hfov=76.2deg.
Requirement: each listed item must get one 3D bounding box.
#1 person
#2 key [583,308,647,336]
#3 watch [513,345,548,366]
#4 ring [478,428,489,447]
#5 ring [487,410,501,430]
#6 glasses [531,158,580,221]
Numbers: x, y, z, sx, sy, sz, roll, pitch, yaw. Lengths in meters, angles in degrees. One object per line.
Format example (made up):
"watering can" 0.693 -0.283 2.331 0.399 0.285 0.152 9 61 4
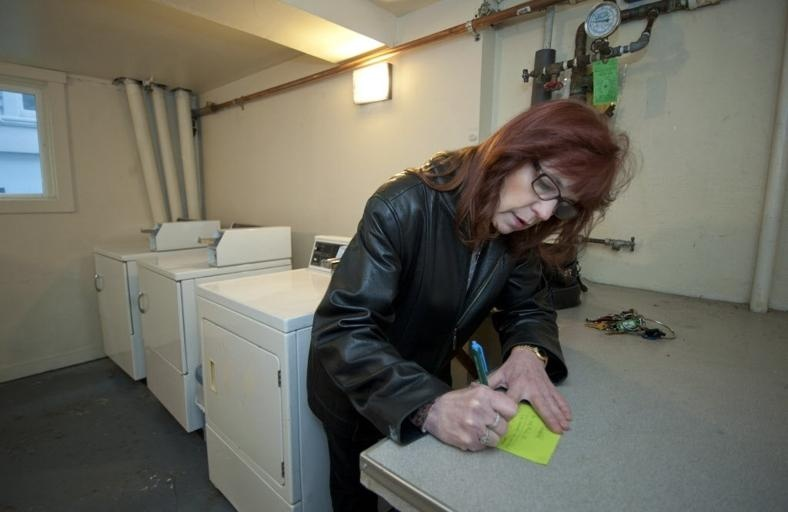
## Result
"person" 0.333 0.046 2.221 1.399 1.403 0.656 -5 12 -13
"key" 1.193 0.381 2.697 0.229 0.061 0.146 -11 28 16
"watch" 0.645 0.462 2.341 0.099 0.101 0.097 9 -5 33
"ring" 0.365 0.737 2.036 0.055 0.068 0.025 11 -9 -32
"ring" 0.406 0.670 2.052 0.039 0.053 0.052 12 47 -7
"glasses" 0.714 -0.312 2.253 0.069 0.229 0.227 -33 -37 16
